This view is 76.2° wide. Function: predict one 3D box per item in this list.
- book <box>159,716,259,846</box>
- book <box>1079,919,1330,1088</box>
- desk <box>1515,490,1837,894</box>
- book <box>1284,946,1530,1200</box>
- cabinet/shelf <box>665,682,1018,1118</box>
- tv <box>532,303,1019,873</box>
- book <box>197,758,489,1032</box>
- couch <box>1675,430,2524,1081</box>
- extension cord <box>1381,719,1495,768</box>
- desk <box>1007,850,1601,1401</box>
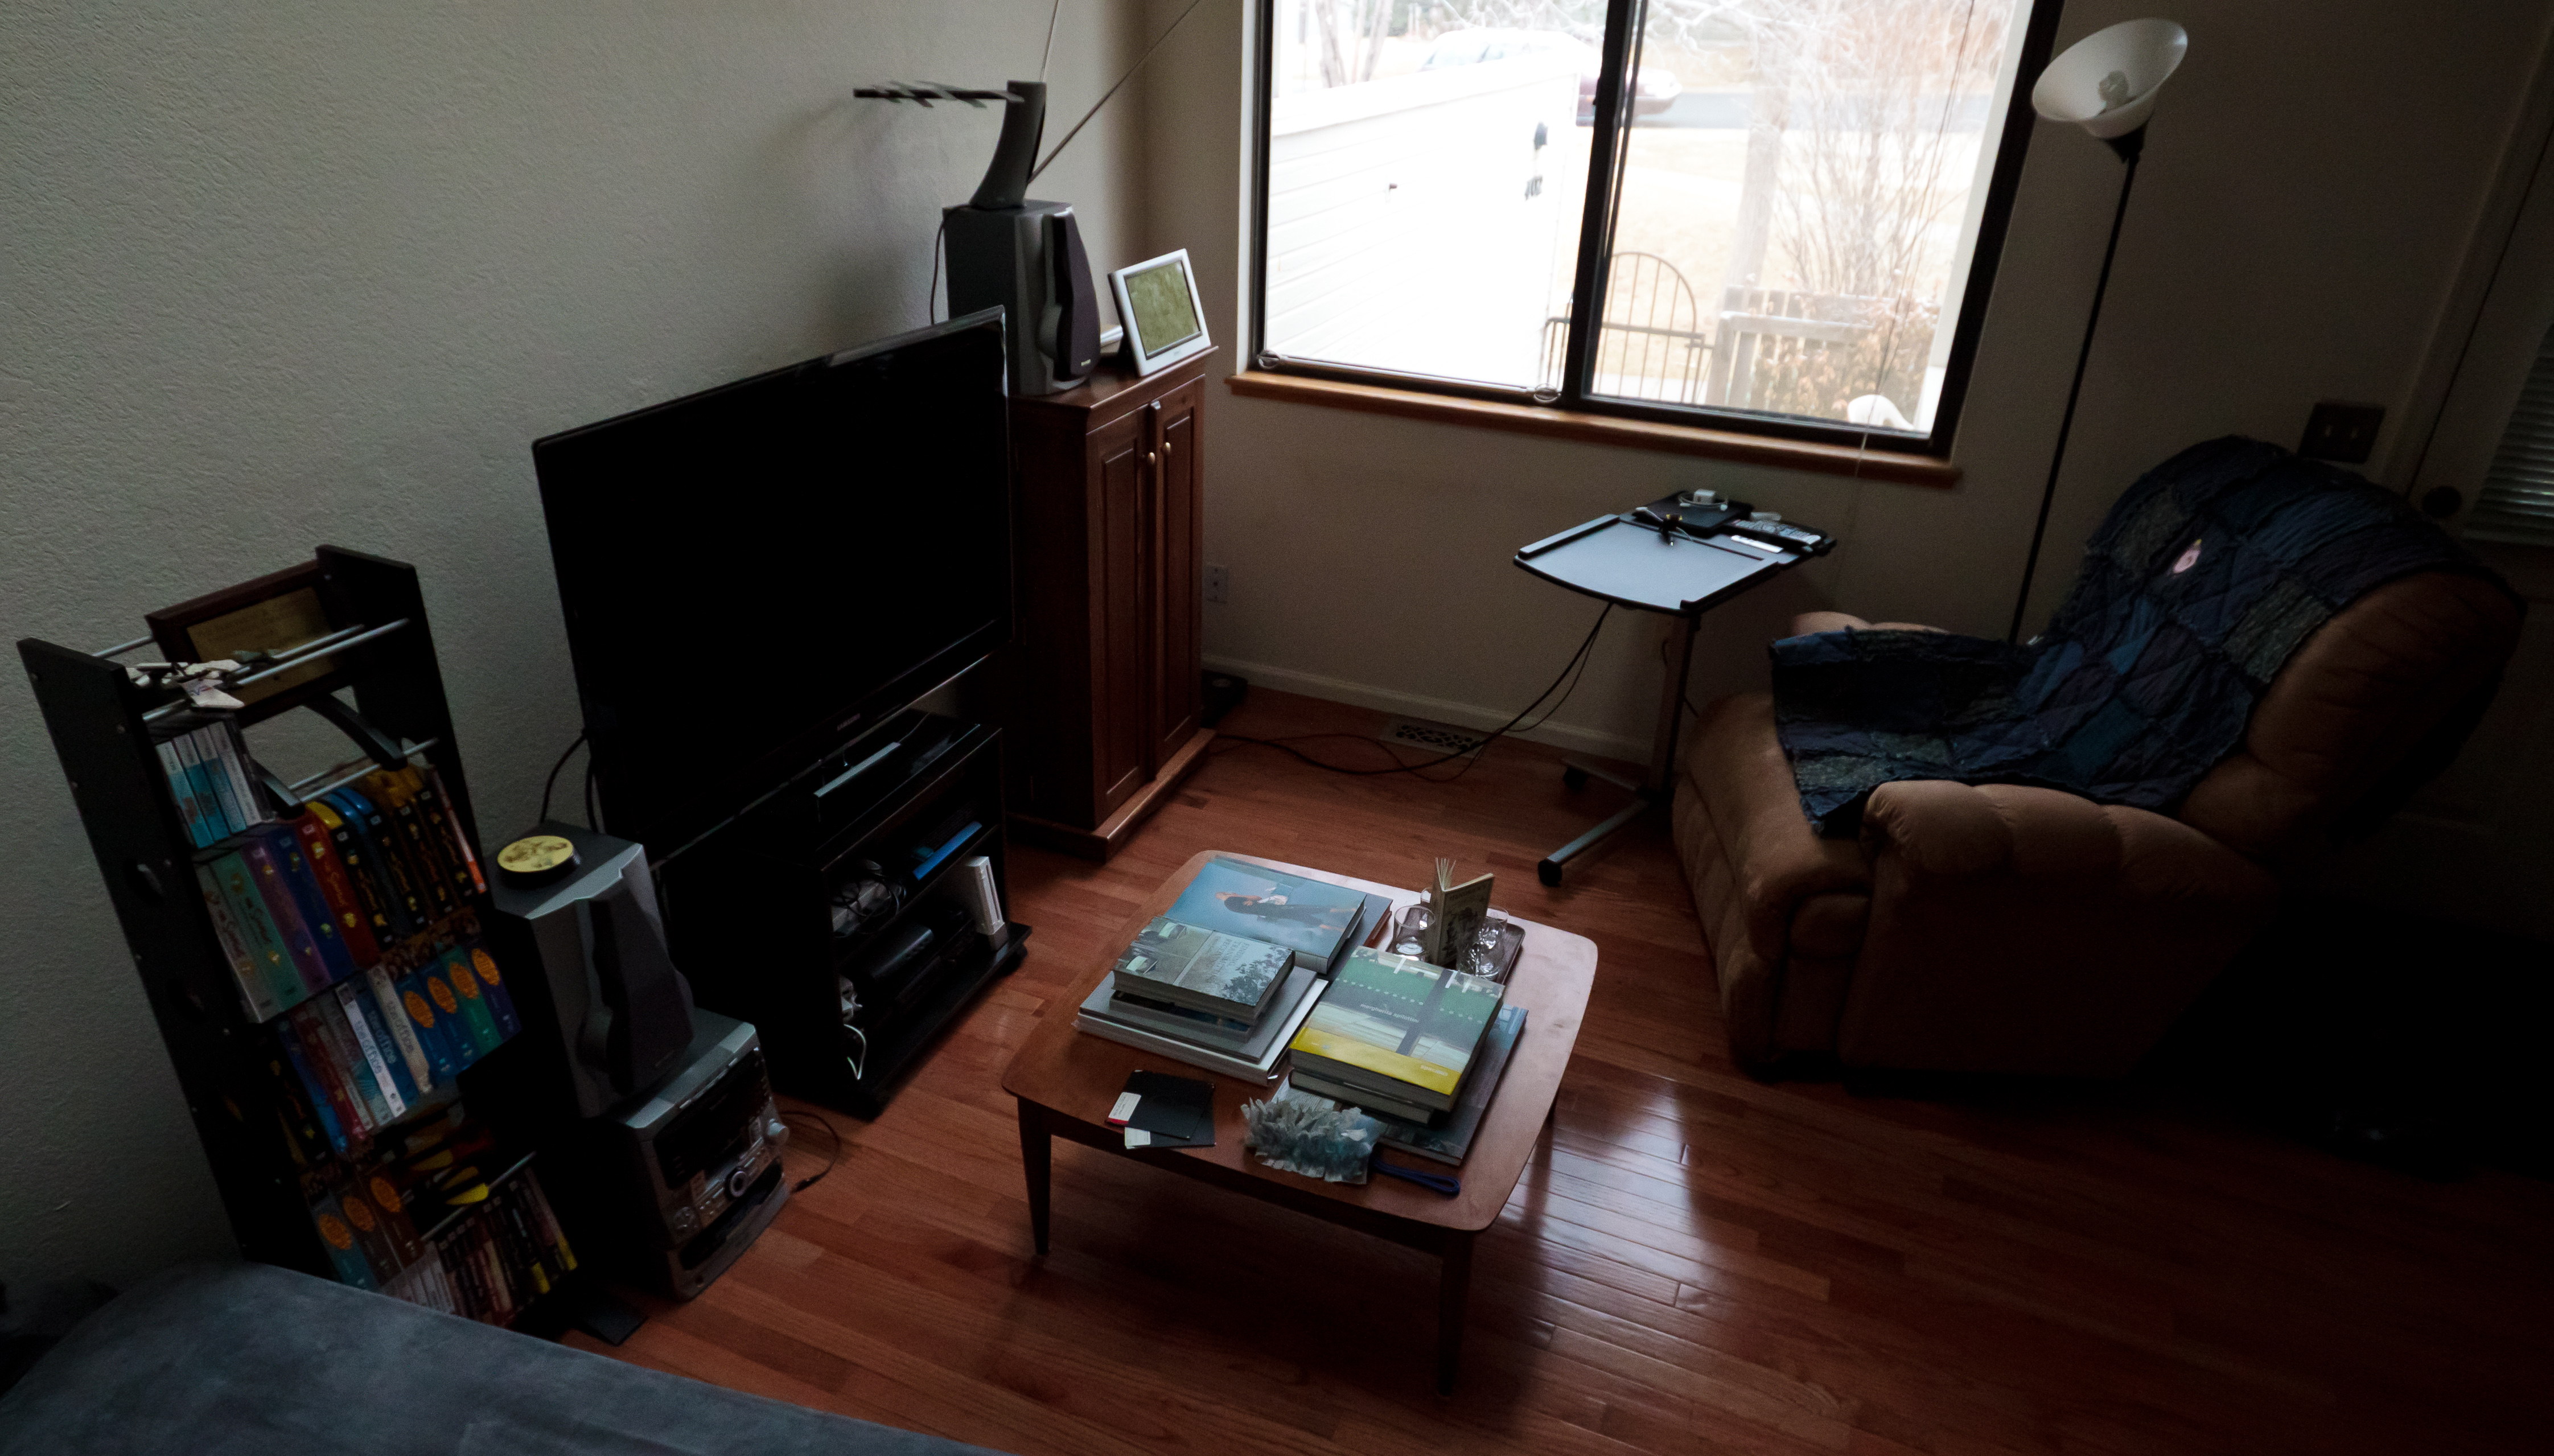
[{"bbox_3d":[-2.193,0.108,3.339,0.065,0.216,0.169,-3,23,20],"label":"book"},{"bbox_3d":[-0.167,0.681,3.946,0.456,0.093,0.392,11,36,18],"label":"book"},{"bbox_3d":[1.267,-0.133,5.049,0.743,0.935,0.957,28,50,32],"label":"desk"},{"bbox_3d":[0.301,0.799,3.895,0.470,0.296,0.497,13,27,18],"label":"book"},{"bbox_3d":[-1.169,0.462,4.246,0.664,0.861,0.778,10,41,16],"label":"cabinet/shelf"},{"bbox_3d":[-1.294,-0.371,4.066,0.158,0.997,1.463,21,34,27],"label":"tv"},{"bbox_3d":[-2.014,0.355,3.471,0.271,0.440,0.490,5,30,35],"label":"book"},{"bbox_3d":[1.996,0.097,4.773,2.267,1.745,1.649,5,38,12],"label":"couch"},{"bbox_3d":[0.555,0.035,5.662,0.250,0.016,0.157,12,36,20],"label":"extension cord"},{"bbox_3d":[0.224,0.868,3.910,1.252,0.564,1.165,17,46,19],"label":"desk"}]
